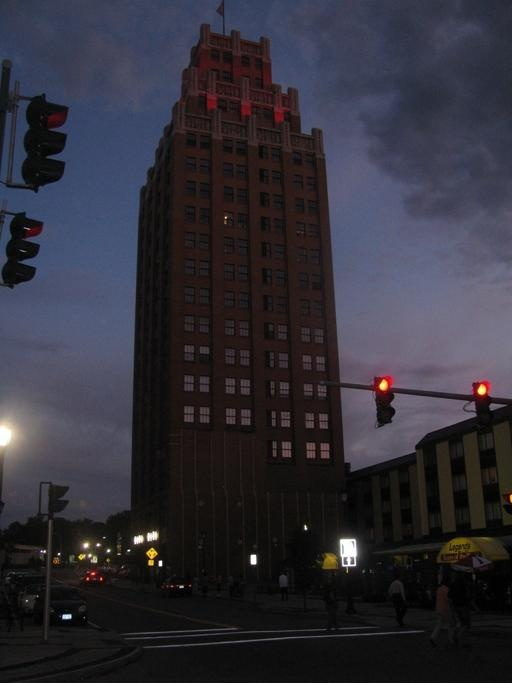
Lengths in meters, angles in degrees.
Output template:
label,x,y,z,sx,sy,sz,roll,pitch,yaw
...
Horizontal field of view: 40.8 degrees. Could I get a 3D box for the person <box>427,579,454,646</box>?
label,x,y,z,sx,sy,sz,roll,pitch,yaw
person,4.448,6.524,16.403,0.578,1.326,1.539,-8,-18,13

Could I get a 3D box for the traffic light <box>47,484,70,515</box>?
label,x,y,z,sx,sy,sz,roll,pitch,yaw
traffic light,-4.369,3.486,15.192,0.406,0.768,1.695,2,-18,-16

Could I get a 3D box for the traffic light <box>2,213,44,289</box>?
label,x,y,z,sx,sy,sz,roll,pitch,yaw
traffic light,-2.693,-1.064,7.922,0.405,1.095,0.752,3,-19,-21

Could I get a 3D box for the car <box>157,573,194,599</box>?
label,x,y,z,sx,sy,sz,roll,pitch,yaw
car,-6.148,18.662,52.714,1.522,1.189,2.488,3,-8,-13

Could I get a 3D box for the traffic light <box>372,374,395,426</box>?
label,x,y,z,sx,sy,sz,roll,pitch,yaw
traffic light,2.661,1.248,14.149,0.442,1.115,1.241,-7,-17,10

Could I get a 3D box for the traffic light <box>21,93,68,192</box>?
label,x,y,z,sx,sy,sz,roll,pitch,yaw
traffic light,-2.260,-2.154,7.376,0.428,0.938,0.697,2,-18,-18
